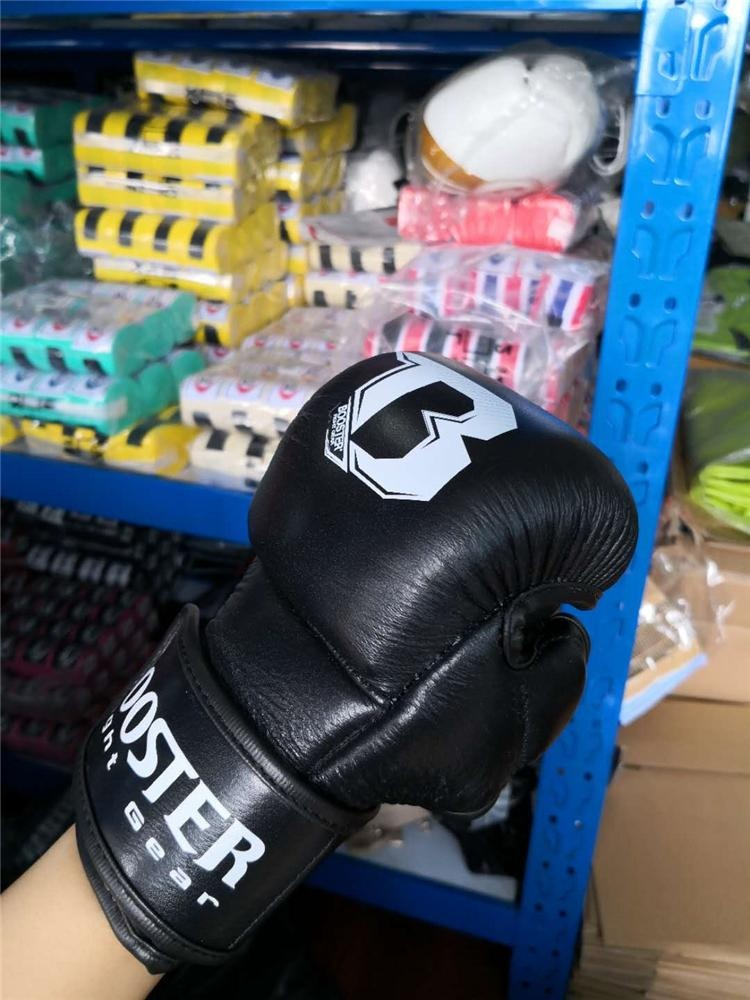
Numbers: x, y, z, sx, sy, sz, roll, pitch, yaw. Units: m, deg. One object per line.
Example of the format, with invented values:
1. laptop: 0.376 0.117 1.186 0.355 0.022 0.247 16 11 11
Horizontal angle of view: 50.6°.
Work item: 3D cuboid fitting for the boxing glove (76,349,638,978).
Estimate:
1. boxing glove: -0.020 0.138 0.639 0.297 0.455 0.251 33 13 12
